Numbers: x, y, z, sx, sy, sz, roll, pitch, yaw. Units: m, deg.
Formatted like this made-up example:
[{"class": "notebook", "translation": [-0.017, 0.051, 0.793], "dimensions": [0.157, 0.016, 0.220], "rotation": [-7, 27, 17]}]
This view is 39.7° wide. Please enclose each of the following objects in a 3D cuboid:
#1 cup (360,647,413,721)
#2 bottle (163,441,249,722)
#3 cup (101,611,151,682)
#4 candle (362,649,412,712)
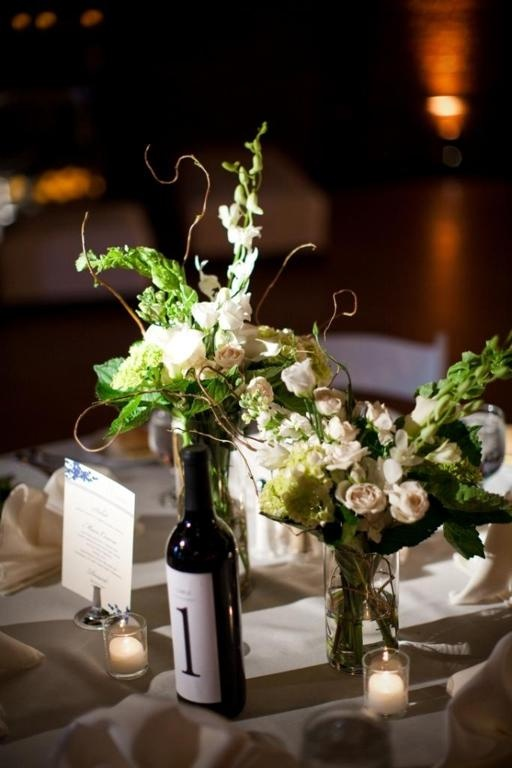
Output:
[{"class": "cup", "translation": [0.109, 0.249, 0.594], "dimensions": [0.051, 0.052, 0.049], "rotation": [-1, 1, 0]}, {"class": "bottle", "translation": [-0.042, 0.168, 0.590], "dimensions": [0.065, 0.226, 0.060], "rotation": [-3, 13, 1]}, {"class": "cup", "translation": [-0.124, 0.258, 0.683], "dimensions": [0.039, 0.039, 0.037], "rotation": [-4, -3, 0]}, {"class": "candle", "translation": [0.110, 0.248, 0.593], "dimensions": [0.050, 0.050, 0.047], "rotation": [-1, 3, 3]}]
